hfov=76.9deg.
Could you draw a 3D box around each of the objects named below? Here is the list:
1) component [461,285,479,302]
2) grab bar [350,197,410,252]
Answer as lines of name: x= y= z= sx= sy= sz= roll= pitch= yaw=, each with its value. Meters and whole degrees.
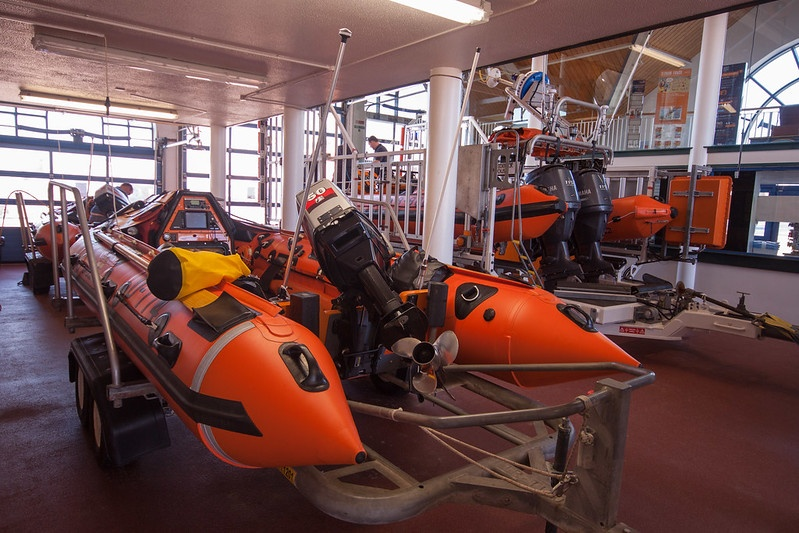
component: x=0.540 y=0.213 z=3.806 sx=0.104 sy=0.123 sz=0.045 roll=41 pitch=-4 yaw=41
grab bar: x=-0.273 y=-0.395 z=4.702 sx=0.412 sy=0.478 sz=0.285 roll=2 pitch=16 yaw=9
